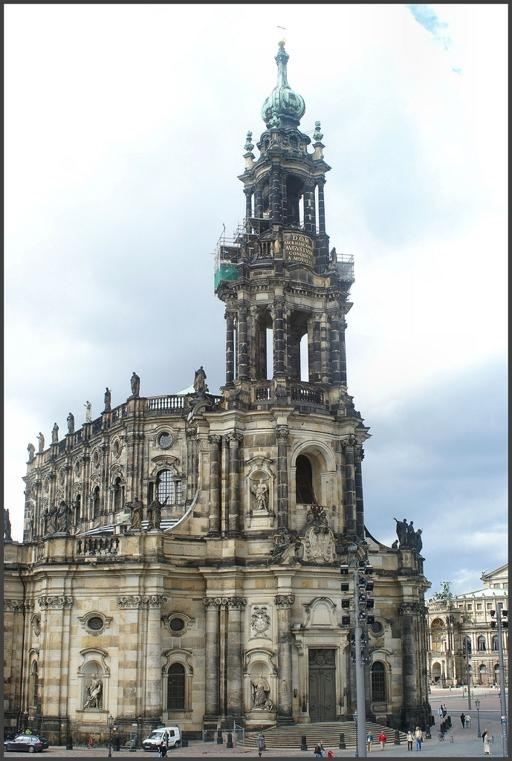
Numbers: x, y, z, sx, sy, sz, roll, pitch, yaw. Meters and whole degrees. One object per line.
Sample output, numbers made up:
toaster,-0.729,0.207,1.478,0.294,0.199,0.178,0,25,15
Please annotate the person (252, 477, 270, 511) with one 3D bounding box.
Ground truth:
person,0.218,5.664,55.701,0.869,1.635,0.429,-2,-17,1

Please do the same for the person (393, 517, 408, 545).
person,8.125,8.434,61.583,0.580,1.554,0.951,-5,-17,10

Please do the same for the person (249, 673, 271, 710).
person,0.218,14.691,52.511,1.351,2.212,0.358,-9,-38,13

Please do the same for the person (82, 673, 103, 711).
person,-7.659,14.610,52.148,1.230,2.222,0.661,-5,-39,-3
